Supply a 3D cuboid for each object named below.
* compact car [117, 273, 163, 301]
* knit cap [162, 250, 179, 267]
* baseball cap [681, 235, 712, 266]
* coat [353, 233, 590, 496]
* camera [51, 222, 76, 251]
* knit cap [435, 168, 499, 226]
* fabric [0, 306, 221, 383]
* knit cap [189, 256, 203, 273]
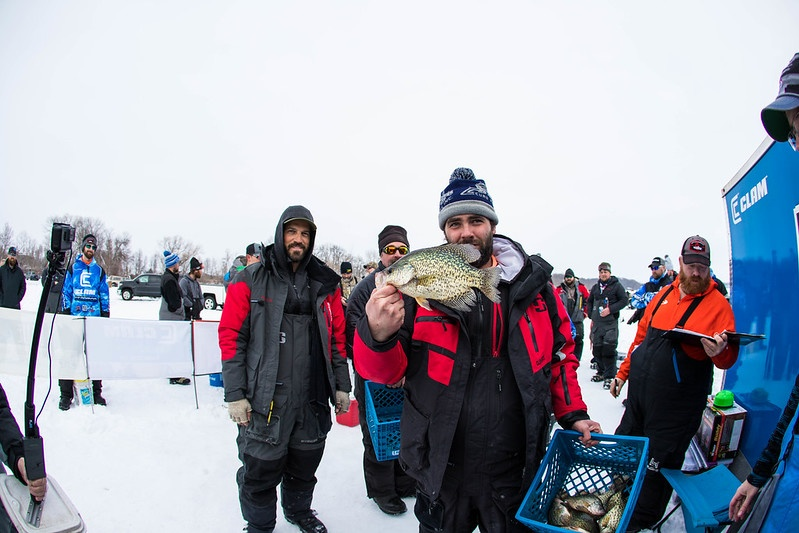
[{"bbox_3d":[-14.784,1.302,26.319,2.601,1.339,1.471,4,-5,-22],"label":"compact car"},{"bbox_3d":[-4.446,-0.121,9.003,0.280,0.356,0.368,-6,-3,21],"label":"knit cap"},{"bbox_3d":[3.025,-0.121,4.696,0.220,0.225,0.357,6,18,21],"label":"baseball cap"},{"bbox_3d":[0.598,0.880,3.744,1.878,1.885,1.119,3,0,-9],"label":"coat"},{"bbox_3d":[-2.843,-0.238,3.910,0.184,0.256,0.122,-8,15,-44],"label":"camera"},{"bbox_3d":[0.577,-0.579,3.909,0.465,0.536,0.553,-6,-18,36],"label":"knit cap"},{"bbox_3d":[-4.394,1.222,7.024,3.062,1.071,0.459,1,11,-12],"label":"fabric"},{"bbox_3d":[-4.299,0.000,9.714,0.263,0.285,0.251,-21,29,-2],"label":"knit cap"}]
